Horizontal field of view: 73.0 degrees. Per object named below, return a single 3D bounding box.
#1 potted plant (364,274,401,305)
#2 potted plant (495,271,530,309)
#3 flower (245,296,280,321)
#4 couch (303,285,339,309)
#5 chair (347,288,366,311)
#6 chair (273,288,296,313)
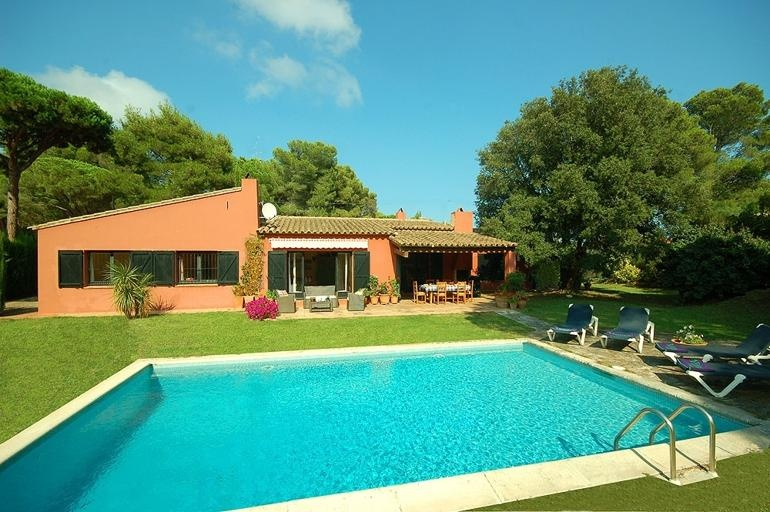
[{"bbox_3d":[0.191,2.607,41.077,2.754,2.287,0.933,1,-2,-10],"label":"potted plant"},{"bbox_3d":[10.551,2.622,40.721,2.782,3.318,2.598,1,-4,3],"label":"potted plant"},{"bbox_3d":[-8.331,3.642,35.814,2.084,1.417,0.764,1,-3,-19],"label":"flower"},{"bbox_3d":[-4.497,3.508,38.775,2.770,1.880,1.583,0,-1,-11],"label":"couch"},{"bbox_3d":[-1.785,3.295,38.341,1.257,1.426,0.617,1,-2,-11],"label":"chair"},{"bbox_3d":[-7.005,3.205,38.182,1.255,1.779,2.052,-1,-1,-6],"label":"chair"}]
